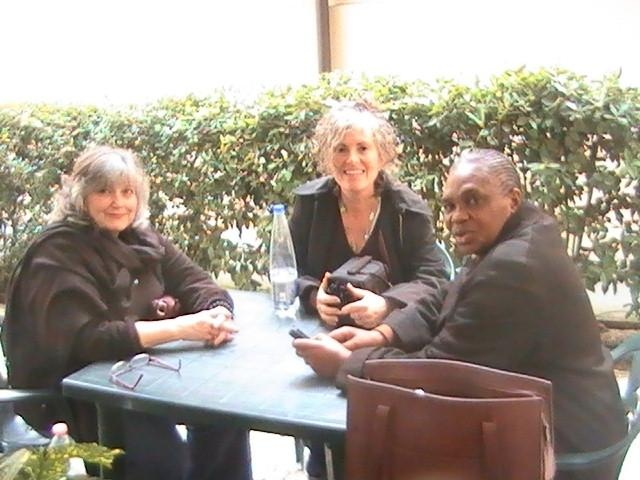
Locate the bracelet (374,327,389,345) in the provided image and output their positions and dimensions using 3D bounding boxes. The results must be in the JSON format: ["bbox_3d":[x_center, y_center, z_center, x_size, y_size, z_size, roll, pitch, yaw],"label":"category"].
[{"bbox_3d":[0.199,0.307,1.615,0.031,0.045,0.043,10,-1,5],"label":"bracelet"}]
